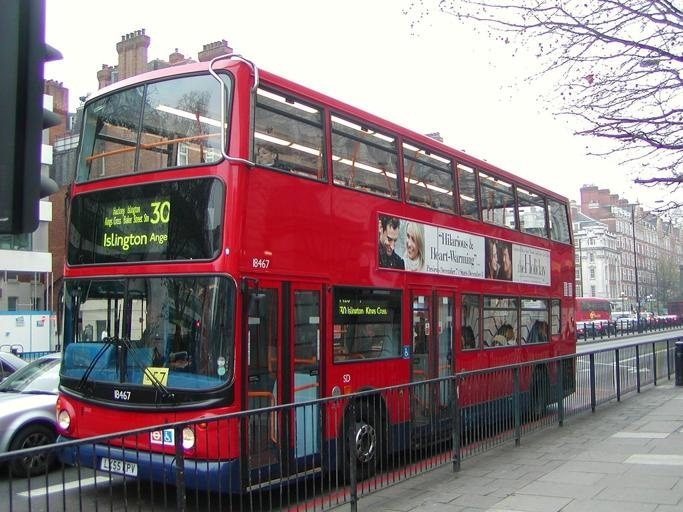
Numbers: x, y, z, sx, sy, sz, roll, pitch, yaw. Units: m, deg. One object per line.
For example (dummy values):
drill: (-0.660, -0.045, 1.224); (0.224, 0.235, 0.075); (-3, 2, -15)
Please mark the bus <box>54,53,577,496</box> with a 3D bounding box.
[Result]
bus: (0.689, 0.302, 11.665); (3.810, 5.467, 12.063); (-4, -9, 38)
